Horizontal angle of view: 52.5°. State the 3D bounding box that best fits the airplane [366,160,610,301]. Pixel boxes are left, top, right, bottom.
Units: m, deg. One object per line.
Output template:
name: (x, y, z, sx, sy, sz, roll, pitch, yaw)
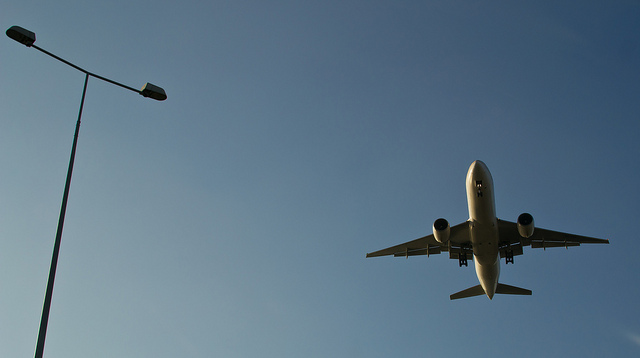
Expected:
airplane: (14.829, 1.341, 59.228, 17.056, 4.791, 13.530, -8, -63, 14)
